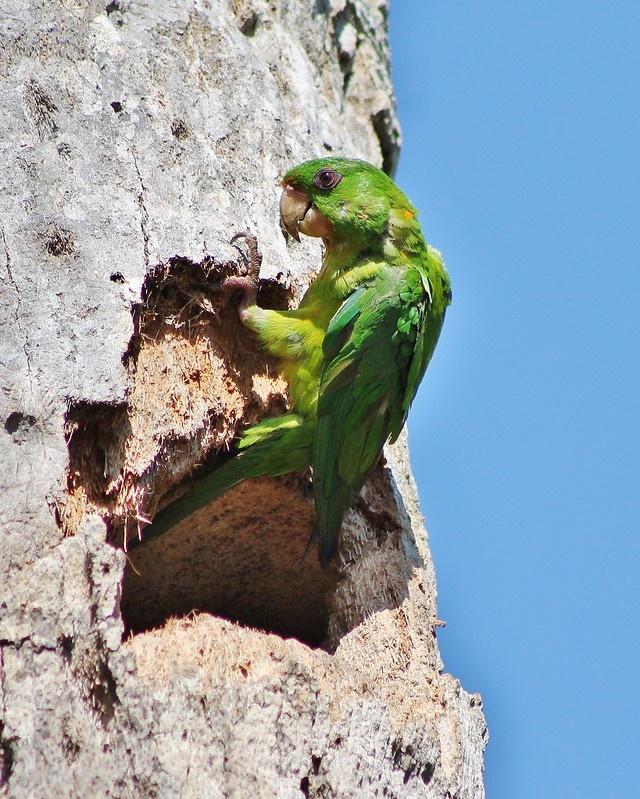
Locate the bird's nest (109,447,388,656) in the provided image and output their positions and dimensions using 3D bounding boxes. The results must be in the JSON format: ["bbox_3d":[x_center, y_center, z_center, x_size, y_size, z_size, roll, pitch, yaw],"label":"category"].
[{"bbox_3d":[-0.385,0.593,8.282,1.048,0.353,1.068,-9,-10,0],"label":"bird's nest"}]

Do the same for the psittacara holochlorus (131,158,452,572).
[{"bbox_3d":[-0.029,-0.068,7.616,0.774,1.428,0.482,21,6,6],"label":"psittacara holochlorus"}]
